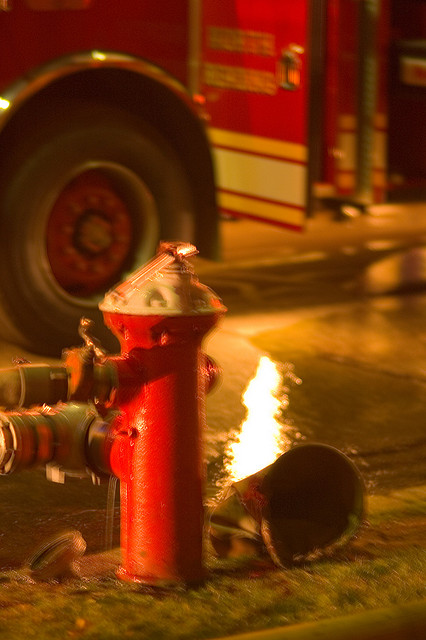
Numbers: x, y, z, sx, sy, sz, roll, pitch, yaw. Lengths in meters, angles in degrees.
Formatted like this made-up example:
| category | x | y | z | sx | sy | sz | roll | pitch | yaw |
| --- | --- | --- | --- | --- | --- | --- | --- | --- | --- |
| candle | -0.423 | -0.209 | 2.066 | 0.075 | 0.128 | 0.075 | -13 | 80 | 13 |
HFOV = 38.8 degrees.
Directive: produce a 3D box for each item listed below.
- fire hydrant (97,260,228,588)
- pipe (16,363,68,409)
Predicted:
| category | x | y | z | sx | sy | sz | roll | pitch | yaw |
| --- | --- | --- | --- | --- | --- | --- | --- | --- | --- |
| fire hydrant | -0.124 | 0.253 | 1.410 | 0.326 | 0.646 | 0.272 | 7 | 2 | 3 |
| pipe | -0.362 | 0.109 | 1.259 | 0.097 | 0.096 | 0.150 | 0 | -3 | 31 |
